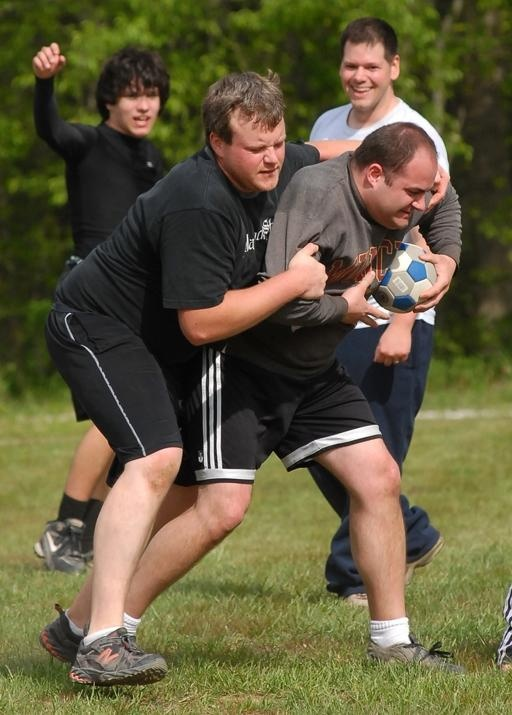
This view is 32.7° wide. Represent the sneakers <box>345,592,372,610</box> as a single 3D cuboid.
[{"bbox_3d":[0.440,1.074,3.819,0.106,0.037,0.124,3,3,8],"label":"sneakers"}]

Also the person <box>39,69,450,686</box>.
[{"bbox_3d":[-0.214,0.032,2.639,0.790,1.757,0.766,1,12,-13],"label":"person"}]

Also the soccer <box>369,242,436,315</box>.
[{"bbox_3d":[0.511,-0.293,3.068,0.204,0.220,0.202,-43,56,-16],"label":"soccer"}]

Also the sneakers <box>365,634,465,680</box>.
[{"bbox_3d":[0.499,0.955,2.798,0.335,0.110,0.103,10,-9,7],"label":"sneakers"}]
